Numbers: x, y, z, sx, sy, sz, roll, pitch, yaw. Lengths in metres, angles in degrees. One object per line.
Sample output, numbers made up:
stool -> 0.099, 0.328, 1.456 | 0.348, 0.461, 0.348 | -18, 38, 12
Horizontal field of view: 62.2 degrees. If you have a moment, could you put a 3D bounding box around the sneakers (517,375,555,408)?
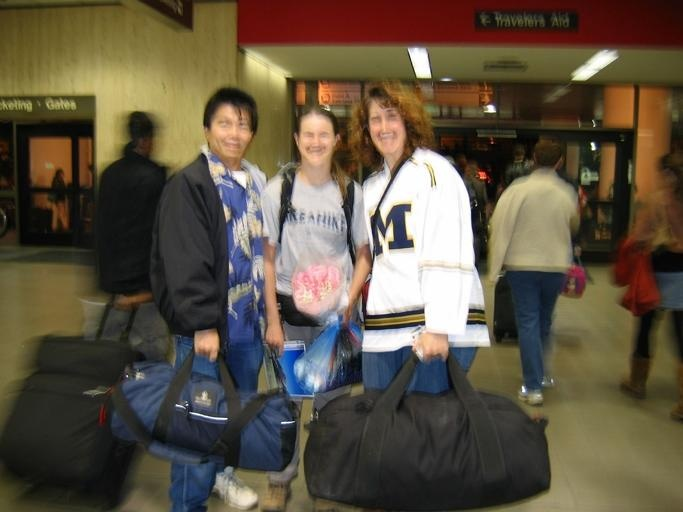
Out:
sneakers -> 1.642, 1.164, 4.882 | 0.159, 0.219, 0.438 | -1, 5, -1

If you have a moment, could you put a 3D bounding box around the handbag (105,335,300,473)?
handbag -> -0.651, 0.725, 2.913 | 0.938, 0.724, 0.546 | 11, -15, 4

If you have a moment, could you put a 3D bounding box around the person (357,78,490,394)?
person -> 0.377, -0.099, 2.979 | 0.557, 1.613, 1.013 | -4, 13, -25

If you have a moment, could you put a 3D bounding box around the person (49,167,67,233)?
person -> -4.365, -0.870, 8.751 | 0.361, 1.002, 0.140 | 5, 12, 18

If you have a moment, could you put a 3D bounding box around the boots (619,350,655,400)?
boots -> 2.546, 1.030, 4.941 | 0.183, 0.348, 0.274 | -5, 10, -15

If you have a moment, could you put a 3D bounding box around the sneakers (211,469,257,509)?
sneakers -> -0.643, 1.392, 3.425 | 0.289, 0.141, 0.153 | 20, 11, 19

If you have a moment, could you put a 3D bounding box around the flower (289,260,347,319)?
flower -> -0.142, 0.211, 3.312 | 0.309, 0.310, 0.163 | 0, 8, -6
